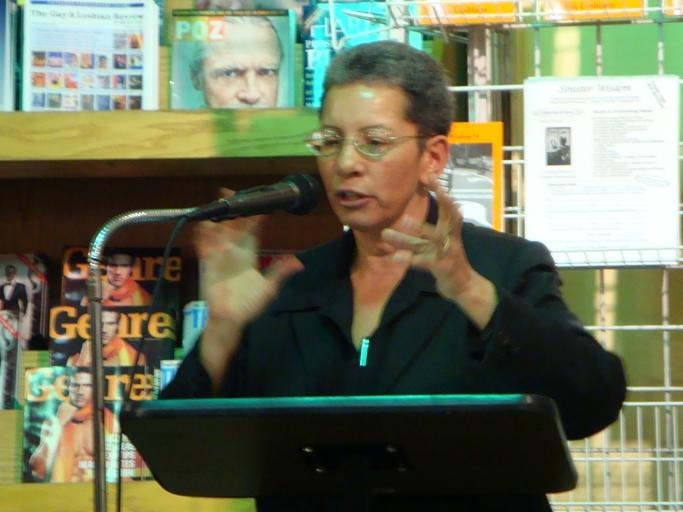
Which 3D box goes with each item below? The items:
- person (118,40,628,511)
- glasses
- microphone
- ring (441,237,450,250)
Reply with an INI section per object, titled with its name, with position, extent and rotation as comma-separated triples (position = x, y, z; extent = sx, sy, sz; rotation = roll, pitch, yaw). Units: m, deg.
[person]
position = 0.086, 0.033, 2.703
extent = 0.685, 0.892, 0.669
rotation = -8, 7, -34
[glasses]
position = 0.048, -0.217, 2.745
extent = 0.230, 0.065, 0.067
rotation = -3, 6, 2
[microphone]
position = -0.155, -0.111, 2.662
extent = 0.301, 0.073, 0.088
rotation = -7, 4, -42
[ring]
position = 0.185, -0.022, 2.495
extent = 0.005, 0.018, 0.021
rotation = 25, -23, -20
